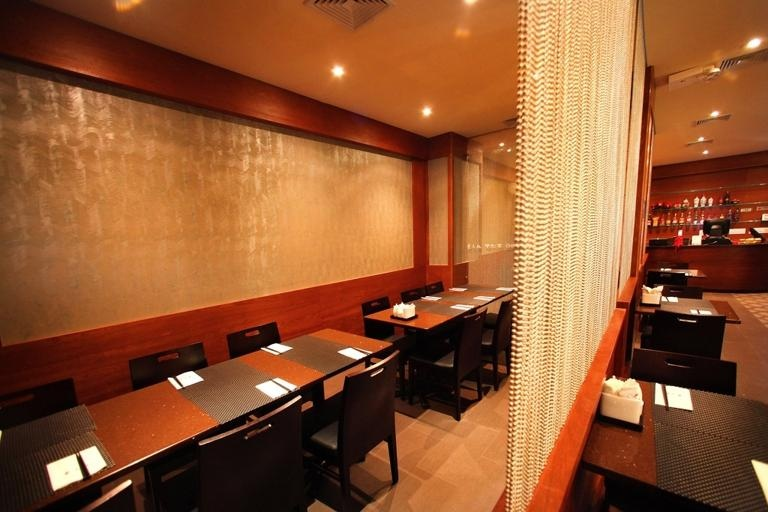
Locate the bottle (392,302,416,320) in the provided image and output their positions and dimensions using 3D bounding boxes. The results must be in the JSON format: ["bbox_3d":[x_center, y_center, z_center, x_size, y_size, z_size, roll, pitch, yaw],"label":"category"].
[{"bbox_3d":[0.236,0.589,5.233,0.183,0.116,0.179,0,2,0],"label":"bottle"}]

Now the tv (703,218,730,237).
[{"bbox_3d":[6.301,-0.538,9.359,0.425,0.220,0.427,-5,20,25],"label":"tv"}]
